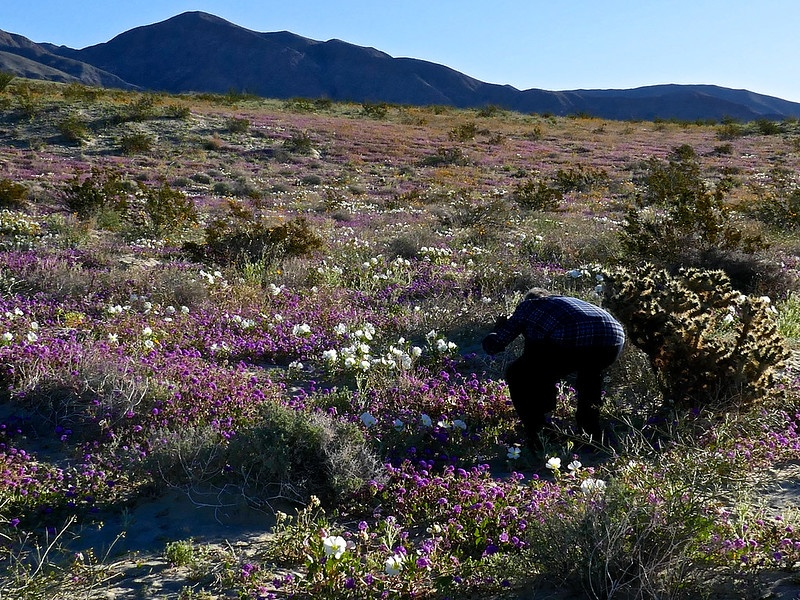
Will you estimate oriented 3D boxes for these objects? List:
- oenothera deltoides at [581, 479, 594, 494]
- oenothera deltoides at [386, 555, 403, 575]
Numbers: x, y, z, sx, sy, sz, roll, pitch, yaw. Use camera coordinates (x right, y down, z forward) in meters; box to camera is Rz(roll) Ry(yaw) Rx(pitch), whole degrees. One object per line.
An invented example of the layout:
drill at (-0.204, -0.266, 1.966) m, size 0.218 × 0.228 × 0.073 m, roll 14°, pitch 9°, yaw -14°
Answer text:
oenothera deltoides at (1.581, 1.580, 6.308) m, size 0.096 × 0.128 × 0.261 m, roll 5°, pitch 7°, yaw 13°
oenothera deltoides at (-0.043, 2.087, 5.897) m, size 0.148 × 0.169 × 0.140 m, roll 4°, pitch 6°, yaw -2°
